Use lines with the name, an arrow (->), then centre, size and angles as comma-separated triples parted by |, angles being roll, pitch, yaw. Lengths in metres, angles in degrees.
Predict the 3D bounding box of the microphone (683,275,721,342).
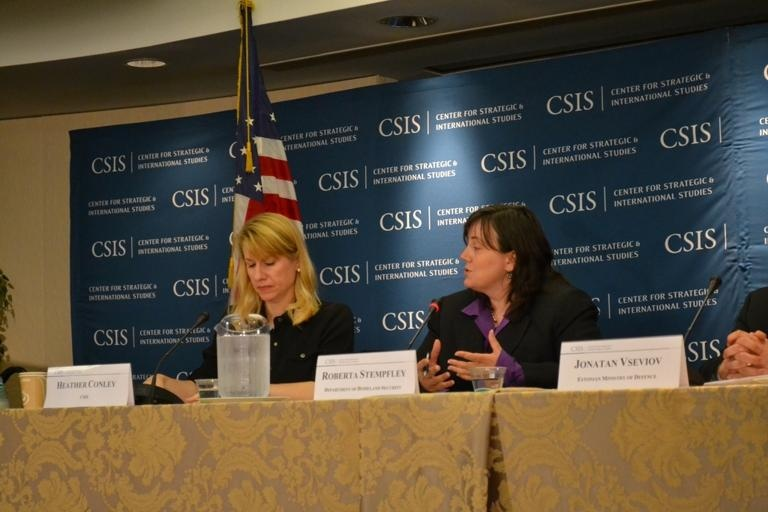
microphone -> 1.741, 0.293, 3.892 | 0.055, 0.378, 0.055 | 22, -7, -39

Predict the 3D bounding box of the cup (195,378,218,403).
cup -> -0.559, 0.419, 2.272 | 0.084, 0.083, 0.063 | 1, 1, -1

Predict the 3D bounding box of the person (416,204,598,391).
person -> 0.601, 0.176, 3.282 | 0.521, 0.952, 0.575 | 19, -27, -26

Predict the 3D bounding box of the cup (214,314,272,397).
cup -> -0.433, 0.308, 2.195 | 0.168, 0.210, 0.146 | -4, -2, -13

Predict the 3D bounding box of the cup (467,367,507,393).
cup -> 0.314, 0.382, 2.198 | 0.082, 0.056, 0.083 | 2, -11, 0

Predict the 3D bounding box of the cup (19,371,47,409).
cup -> -1.148, 0.437, 2.329 | 0.108, 0.117, 0.110 | 1, -10, 0
